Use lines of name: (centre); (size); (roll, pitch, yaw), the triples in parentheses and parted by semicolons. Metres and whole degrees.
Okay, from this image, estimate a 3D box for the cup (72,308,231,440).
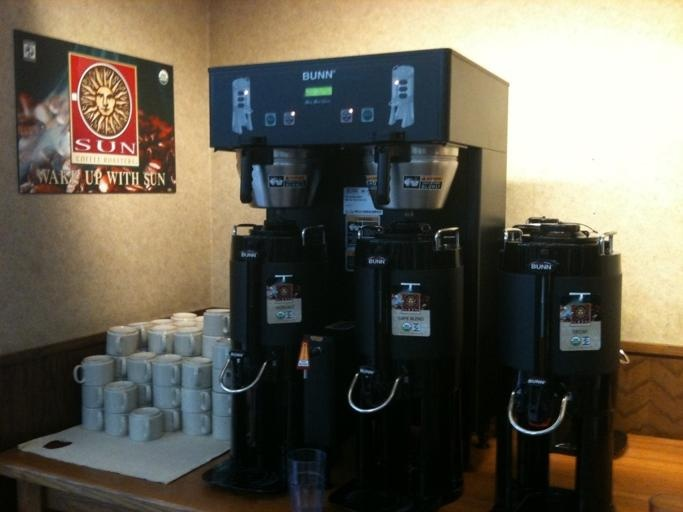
cup: (-0.565, 0.329, 1.958); (0.349, 0.170, 0.481); (4, 8, 23)
